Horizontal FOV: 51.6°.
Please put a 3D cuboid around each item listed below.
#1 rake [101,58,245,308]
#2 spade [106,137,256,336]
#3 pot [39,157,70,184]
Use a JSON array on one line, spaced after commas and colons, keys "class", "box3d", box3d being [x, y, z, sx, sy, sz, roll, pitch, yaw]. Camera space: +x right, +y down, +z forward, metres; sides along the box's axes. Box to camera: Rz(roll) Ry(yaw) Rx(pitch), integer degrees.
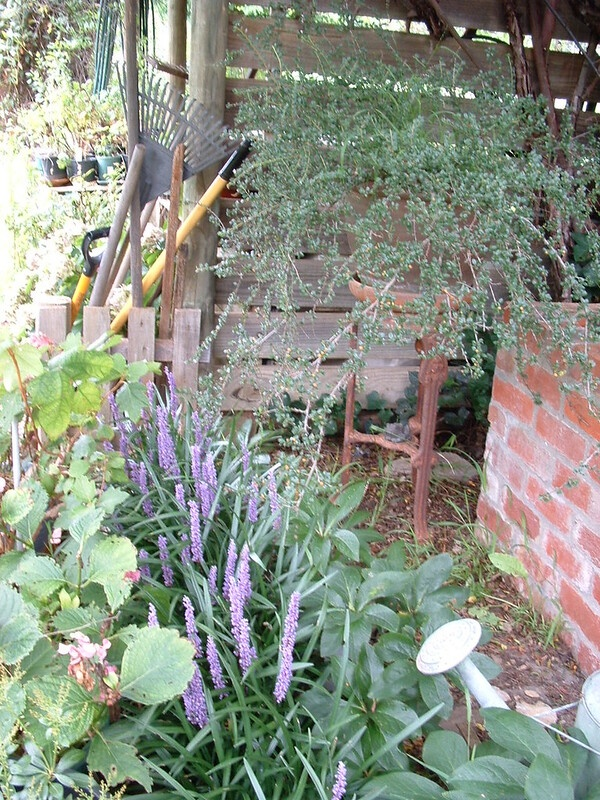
[{"class": "rake", "box3d": [-0.406, -0.702, 2.009, 0.367, 0.646, 0.290, -12, 25, -33]}, {"class": "spade", "box3d": [-0.337, -0.486, 2.124, 0.452, 0.729, 0.398, 14, 23, 31]}, {"class": "pot", "box3d": [-1.839, -1.698, 4.607, 0.156, 0.215, 0.335, 3, 14, 1]}]
